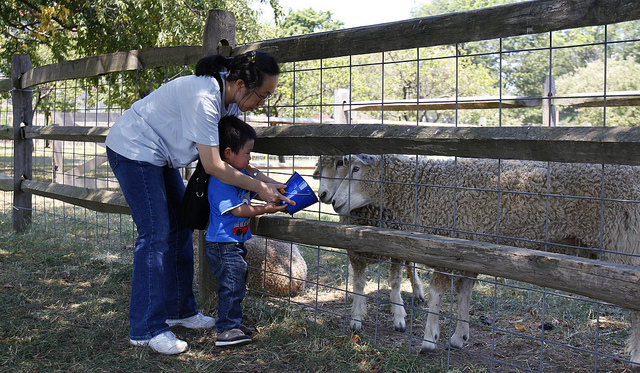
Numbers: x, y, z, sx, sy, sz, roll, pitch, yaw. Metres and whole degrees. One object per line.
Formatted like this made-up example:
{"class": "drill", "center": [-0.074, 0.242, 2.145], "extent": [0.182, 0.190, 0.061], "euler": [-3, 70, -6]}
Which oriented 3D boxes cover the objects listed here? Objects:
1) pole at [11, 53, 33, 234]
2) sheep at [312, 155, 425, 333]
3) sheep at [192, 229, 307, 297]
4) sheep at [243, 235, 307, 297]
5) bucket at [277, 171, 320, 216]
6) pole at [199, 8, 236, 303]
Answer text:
{"class": "pole", "center": [-5.107, -0.781, 8.534], "extent": [0.355, 2.820, 0.348], "euler": [33, 30, 28]}
{"class": "sheep", "center": [0.865, 0.715, 6.863], "extent": [1.081, 2.527, 2.912], "euler": [0, 4, 22]}
{"class": "sheep", "center": [-1.018, 1.076, 6.814], "extent": [1.849, 1.086, 0.738], "euler": [9, -10, -14]}
{"class": "sheep", "center": [-0.574, 1.054, 6.499], "extent": [0.765, 0.536, 0.994], "euler": [2, -1, 5]}
{"class": "bucket", "center": [-0.231, 0.057, 5.347], "extent": [0.363, 0.280, 0.394], "euler": [20, 2, -1]}
{"class": "pole", "center": [-1.225, -0.346, 5.882], "extent": [0.457, 3.467, 0.539], "euler": [-1, 8, -10]}
